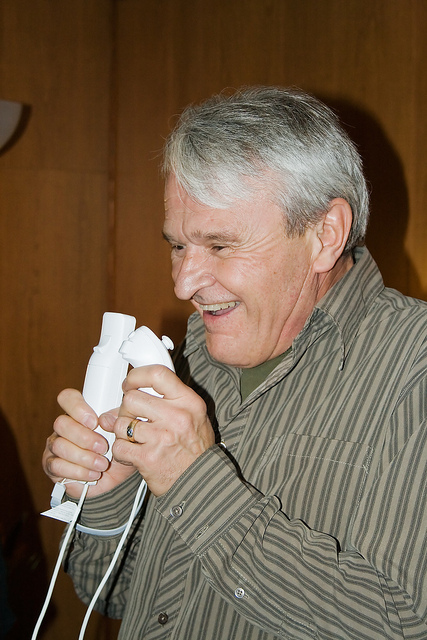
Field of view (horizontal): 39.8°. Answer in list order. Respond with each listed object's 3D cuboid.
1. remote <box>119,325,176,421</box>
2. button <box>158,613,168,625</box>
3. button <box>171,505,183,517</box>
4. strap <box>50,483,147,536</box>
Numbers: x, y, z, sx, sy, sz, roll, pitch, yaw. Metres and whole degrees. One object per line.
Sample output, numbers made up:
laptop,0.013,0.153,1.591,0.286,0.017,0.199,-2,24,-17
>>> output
remote,-0.118,0.098,1.040,0.097,0.167,0.144,2,6,-9
button,-0.085,0.505,0.996,0.013,0.016,0.005,2,-10,17
button,-0.057,0.297,0.916,0.019,0.017,0.006,5,7,22
strap,-0.217,0.362,1.105,0.143,0.121,0.034,0,-26,-1
